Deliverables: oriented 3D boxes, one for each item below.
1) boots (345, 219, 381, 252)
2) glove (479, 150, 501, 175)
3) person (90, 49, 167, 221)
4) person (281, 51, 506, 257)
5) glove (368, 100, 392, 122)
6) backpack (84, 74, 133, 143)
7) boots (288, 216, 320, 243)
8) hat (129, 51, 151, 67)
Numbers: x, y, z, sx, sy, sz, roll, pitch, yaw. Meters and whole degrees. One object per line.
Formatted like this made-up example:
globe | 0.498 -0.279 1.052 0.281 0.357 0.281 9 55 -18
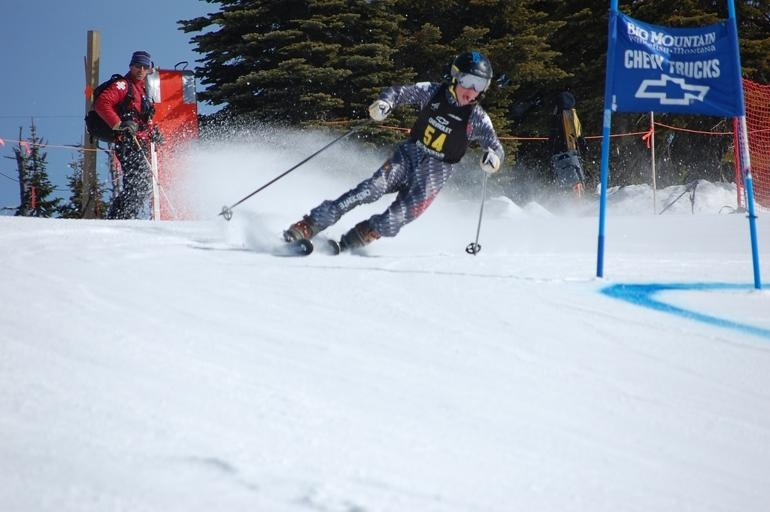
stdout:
boots | -0.210 -0.177 6.860 0.159 0.254 0.174 47 -11 21
glove | 0.975 -0.860 6.627 0.096 0.216 0.183 -6 -3 -32
person | -3.364 -1.480 9.419 0.885 2.529 1.133 17 43 -5
person | 0.323 -0.912 7.093 1.431 2.591 0.613 -2 49 -30
glove | -0.067 -1.321 6.528 0.203 0.182 0.188 7 10 14
backpack | -3.439 -1.803 8.858 0.567 0.813 0.418 12 12 40
boots | -0.743 -0.224 6.354 0.258 0.213 0.492 5 11 5
hat | -3.004 -2.389 8.759 0.213 0.158 0.181 2 10 -13
